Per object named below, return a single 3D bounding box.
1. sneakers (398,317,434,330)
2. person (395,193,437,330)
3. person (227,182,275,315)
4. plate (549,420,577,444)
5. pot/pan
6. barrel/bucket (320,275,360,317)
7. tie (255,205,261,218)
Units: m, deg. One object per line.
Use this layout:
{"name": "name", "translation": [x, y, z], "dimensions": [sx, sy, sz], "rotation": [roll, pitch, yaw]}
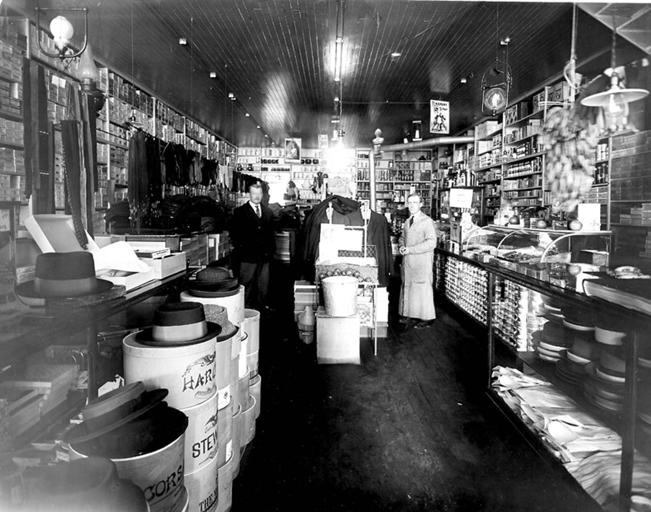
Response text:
{"name": "sneakers", "translation": [1.161, 0.861, 6.517], "dimensions": [0.445, 0.209, 0.171], "rotation": [-5, 20, 7]}
{"name": "person", "translation": [1.188, 0.054, 6.507], "dimensions": [0.473, 1.675, 0.503], "rotation": [2, 9, 12]}
{"name": "person", "translation": [-1.009, -0.117, 6.968], "dimensions": [0.595, 1.724, 0.342], "rotation": [-2, 9, -10]}
{"name": "plate", "translation": [1.668, 1.244, 3.576], "dimensions": [0.185, 0.056, 0.216], "rotation": [6, 14, 27]}
{"name": "pot/pan", "translation": [1.802, 0.454, 3.485], "dimensions": [0.368, 0.114, 0.391], "rotation": [-6, 18, -36]}
{"name": "barrel/bucket", "translation": [0.151, 0.414, 5.287], "dimensions": [0.298, 0.318, 0.375], "rotation": [0, 5, 3]}
{"name": "tie", "translation": [-0.936, -0.608, 6.948], "dimensions": [0.062, 0.029, 0.196], "rotation": [4, 34, -10]}
